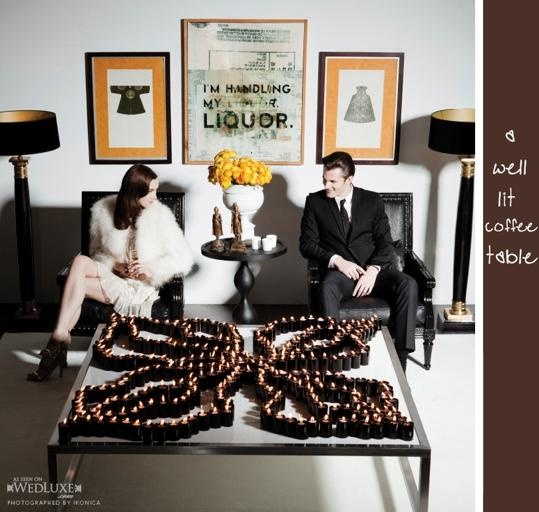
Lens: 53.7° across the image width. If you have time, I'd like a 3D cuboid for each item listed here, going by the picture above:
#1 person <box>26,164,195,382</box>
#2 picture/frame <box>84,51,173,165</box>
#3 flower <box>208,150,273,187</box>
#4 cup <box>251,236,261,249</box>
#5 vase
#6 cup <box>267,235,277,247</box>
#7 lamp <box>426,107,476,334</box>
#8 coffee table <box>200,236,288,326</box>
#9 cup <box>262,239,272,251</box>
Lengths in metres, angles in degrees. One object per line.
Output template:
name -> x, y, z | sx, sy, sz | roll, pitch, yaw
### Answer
person -> -1.094, 0.071, 3.524 | 0.614, 1.327, 1.086 | 10, 6, 36
picture/frame -> -1.114, -1.202, 4.163 | 0.776, 1.140, 0.047 | 2, 19, 1
flower -> -0.213, -0.631, 3.878 | 0.333, 0.207, 0.291 | 0, 19, 5
cup -> -0.100, -0.094, 3.895 | 0.063, 0.086, 0.080 | -7, 14, -41
vase -> -0.154, -0.309, 3.925 | 0.334, 0.510, 0.332 | 6, 12, 42
cup -> 0.023, -0.108, 3.906 | 0.079, 0.091, 0.054 | -4, 16, -17
lamp -> 1.365, -0.241, 3.966 | 0.407, 1.696, 0.606 | 6, 11, 26
coffee table -> -0.211, 0.176, 3.966 | 0.557, 0.618, 0.645 | -1, 15, -1
cup -> -0.021, -0.076, 3.840 | 0.053, 0.085, 0.090 | 4, 12, 19
